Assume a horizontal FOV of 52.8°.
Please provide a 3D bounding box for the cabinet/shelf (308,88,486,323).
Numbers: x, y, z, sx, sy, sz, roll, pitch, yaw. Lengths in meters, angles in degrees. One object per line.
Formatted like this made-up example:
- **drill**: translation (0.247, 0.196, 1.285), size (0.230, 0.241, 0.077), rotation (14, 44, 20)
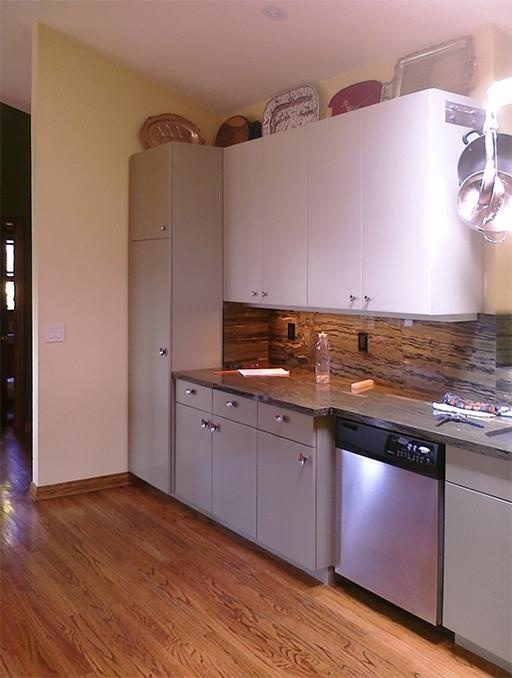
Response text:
- **cabinet/shelf**: translation (0.642, -0.551, 2.168), size (0.525, 0.896, 0.323), rotation (0, 2, 31)

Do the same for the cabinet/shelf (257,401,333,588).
- **cabinet/shelf**: translation (0.152, 0.638, 2.339), size (0.132, 0.676, 0.435), rotation (-2, 2, -41)

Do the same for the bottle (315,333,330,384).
- **bottle**: translation (0.351, 0.101, 2.733), size (0.065, 0.269, 0.120), rotation (0, 1, 2)

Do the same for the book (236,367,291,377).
- **book**: translation (0.045, 0.197, 3.055), size (0.299, 0.033, 0.270), rotation (0, 2, 0)
